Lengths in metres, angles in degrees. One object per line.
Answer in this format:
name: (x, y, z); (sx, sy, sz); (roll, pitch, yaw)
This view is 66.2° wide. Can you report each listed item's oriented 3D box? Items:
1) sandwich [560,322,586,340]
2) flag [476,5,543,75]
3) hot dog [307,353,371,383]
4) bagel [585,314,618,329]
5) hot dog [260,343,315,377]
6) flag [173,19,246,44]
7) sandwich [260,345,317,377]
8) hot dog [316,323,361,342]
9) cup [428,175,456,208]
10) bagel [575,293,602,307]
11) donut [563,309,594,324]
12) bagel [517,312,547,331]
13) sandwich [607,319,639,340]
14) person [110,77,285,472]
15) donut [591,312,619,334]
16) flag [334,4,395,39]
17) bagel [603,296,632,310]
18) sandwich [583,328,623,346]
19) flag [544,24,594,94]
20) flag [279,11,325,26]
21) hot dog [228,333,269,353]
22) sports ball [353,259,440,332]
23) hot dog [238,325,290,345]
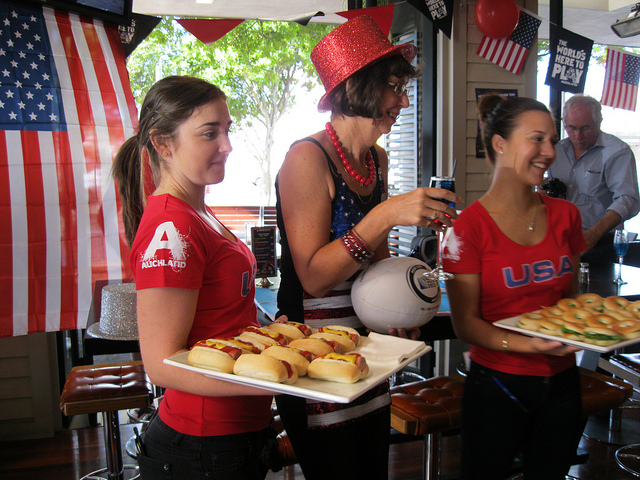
sandwich: (0.905, 0.320, 1.748); (0.072, 0.035, 0.102); (13, 16, 28)
flag: (1.539, -1.656, 4.041); (0.493, 0.508, 0.027); (27, 8, -17)
hot dog: (0.059, 0.334, 1.341); (0.167, 0.057, 0.166); (0, 8, 20)
bagel: (1.031, 0.295, 1.805); (0.059, 0.021, 0.057); (-11, 12, -34)
hot dog: (-0.089, 0.317, 1.353); (0.136, 0.057, 0.113); (16, 4, 29)
flag: (-0.800, -1.544, 3.584); (0.452, 0.157, 0.008); (-5, 1, -9)
sandwich: (-0.071, 0.307, 1.316); (0.101, 0.044, 0.082); (14, 5, 30)
hot dog: (0.062, 0.272, 1.486); (0.076, 0.026, 0.079); (12, 5, 24)
cup: (0.432, -0.156, 1.773); (0.098, 0.145, 0.091); (0, 10, 0)
bagel: (1.104, 0.235, 2.019); (0.064, 0.023, 0.063); (-8, 16, 4)
donut: (0.968, 0.278, 1.835); (0.062, 0.022, 0.062); (-5, 12, -4)
bagel: (0.783, 0.301, 1.820); (0.065, 0.024, 0.064); (-4, 16, -3)
sandwich: (1.104, 0.319, 1.776); (0.082, 0.029, 0.082); (-3, 10, 24)
person: (-0.376, 0.136, 1.568); (0.447, 1.242, 0.820); (-2, 16, -28)
donut: (1.036, 0.299, 1.798); (0.070, 0.024, 0.070); (-14, 17, -12)
flag: (0.332, -1.625, 3.567); (0.379, 0.237, 0.326); (6, 14, 2)
bagel: (1.197, 0.251, 1.974); (0.065, 0.022, 0.065); (-4, 12, 2)
sandwich: (0.990, 0.334, 1.722); (0.076, 0.027, 0.076); (-2, 3, 0)
flag: (2.182, -1.556, 4.269); (0.427, 0.516, 0.096); (3, 14, -11)
flag: (-0.115, -1.727, 3.863); (0.154, 0.072, 0.279); (-32, 34, -28)
hot dog: (-0.196, 0.284, 1.353); (0.065, 0.022, 0.054); (17, -4, -8)
sports ball: (0.278, 0.198, 1.782); (0.306, 0.181, 0.214); (1, -2, -37)
hot dog: (-0.169, 0.272, 1.414); (0.086, 0.025, 0.069); (11, -5, 4)
